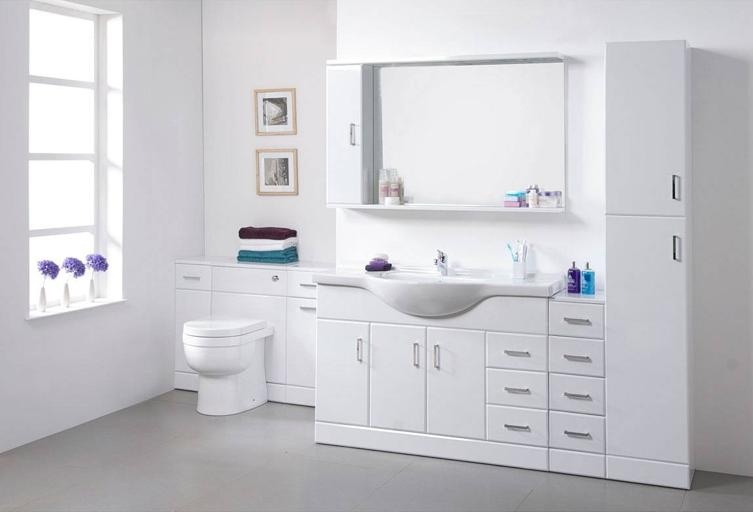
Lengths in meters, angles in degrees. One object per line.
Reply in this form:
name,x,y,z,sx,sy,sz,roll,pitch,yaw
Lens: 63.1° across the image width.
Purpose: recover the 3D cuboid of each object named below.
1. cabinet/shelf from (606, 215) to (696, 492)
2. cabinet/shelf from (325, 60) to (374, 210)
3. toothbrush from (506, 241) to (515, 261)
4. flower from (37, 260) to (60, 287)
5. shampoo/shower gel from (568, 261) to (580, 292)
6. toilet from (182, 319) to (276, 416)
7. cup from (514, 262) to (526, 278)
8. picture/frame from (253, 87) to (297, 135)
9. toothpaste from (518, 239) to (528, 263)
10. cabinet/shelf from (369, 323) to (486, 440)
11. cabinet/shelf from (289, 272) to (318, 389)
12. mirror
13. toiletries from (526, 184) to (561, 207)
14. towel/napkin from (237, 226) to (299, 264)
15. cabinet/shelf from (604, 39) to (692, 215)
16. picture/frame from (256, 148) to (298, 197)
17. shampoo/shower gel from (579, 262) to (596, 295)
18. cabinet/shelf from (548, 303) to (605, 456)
cabinet/shelf,1.580,0.440,3.915,0.662,1.883,0.608,2,-1,2
cabinet/shelf,-0.198,-0.872,4.549,0.136,0.987,0.336,4,9,4
toothbrush,0.922,-0.024,4.167,0.064,0.114,0.180,2,11,6
flower,-2.284,0.111,4.313,0.164,0.193,0.193,1,5,-23
shampoo/shower gel,1.268,0.148,3.929,0.073,0.175,0.097,7,13,33
toilet,-1.150,0.847,4.796,0.538,0.633,0.750,0,3,18
cup,0.947,0.095,4.053,0.094,0.128,0.093,1,3,0
picture/frame,-0.812,-1.200,5.026,0.423,0.391,0.032,1,7,22
toothpaste,0.989,-0.029,4.133,0.044,0.145,0.197,5,12,22
cabinet/shelf,0.364,0.807,3.972,0.820,0.684,0.317,1,1,17
cabinet/shelf,-0.589,0.562,4.749,0.244,0.919,0.155,2,11,7
mirror,0.641,-0.852,4.313,1.450,0.986,0.105,-3,8,-12
toiletries,1.120,-0.398,4.091,0.238,0.139,0.125,3,11,15
towel/napkin,-0.867,-0.085,4.888,0.424,0.250,0.311,1,5,10
cabinet/shelf,1.587,-0.750,3.621,0.475,1.002,0.141,3,11,15
picture/frame,-0.818,-0.688,5.068,0.407,0.380,0.032,4,8,26
shampoo/shower gel,1.380,0.149,3.993,0.100,0.182,0.273,4,11,20
cabinet/shelf,1.199,0.782,3.915,0.434,0.953,0.388,5,-16,0
